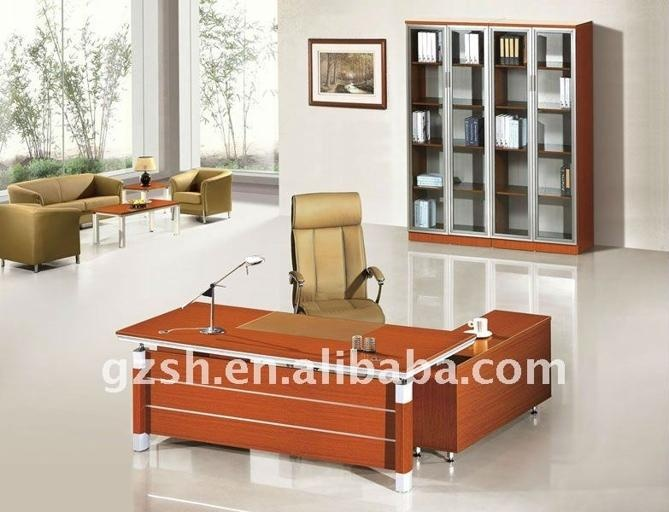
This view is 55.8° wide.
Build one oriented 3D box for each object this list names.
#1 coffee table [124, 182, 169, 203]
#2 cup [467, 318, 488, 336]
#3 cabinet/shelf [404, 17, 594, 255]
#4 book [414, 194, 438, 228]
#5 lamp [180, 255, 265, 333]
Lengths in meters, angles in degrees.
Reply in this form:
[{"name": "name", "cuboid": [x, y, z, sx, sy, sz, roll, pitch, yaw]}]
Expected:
[{"name": "coffee table", "cuboid": [-3.384, -1.142, 11.236, 0.552, 0.504, 0.556, 7, 15, 29]}, {"name": "cup", "cuboid": [0.982, 0.488, 4.298, 0.136, 0.087, 0.132, -3, 9, 0]}, {"name": "cabinet/shelf", "cuboid": [2.381, -1.727, 8.766, 3.268, 3.864, 1.045, 4, 8, 27]}, {"name": "book", "cuboid": [1.368, -0.684, 9.536, 0.520, 0.494, 0.383, 0, 3, 16]}, {"name": "lamp", "cuboid": [-0.706, 0.238, 4.016, 0.547, 0.488, 0.150, 0, 4, -4]}]
